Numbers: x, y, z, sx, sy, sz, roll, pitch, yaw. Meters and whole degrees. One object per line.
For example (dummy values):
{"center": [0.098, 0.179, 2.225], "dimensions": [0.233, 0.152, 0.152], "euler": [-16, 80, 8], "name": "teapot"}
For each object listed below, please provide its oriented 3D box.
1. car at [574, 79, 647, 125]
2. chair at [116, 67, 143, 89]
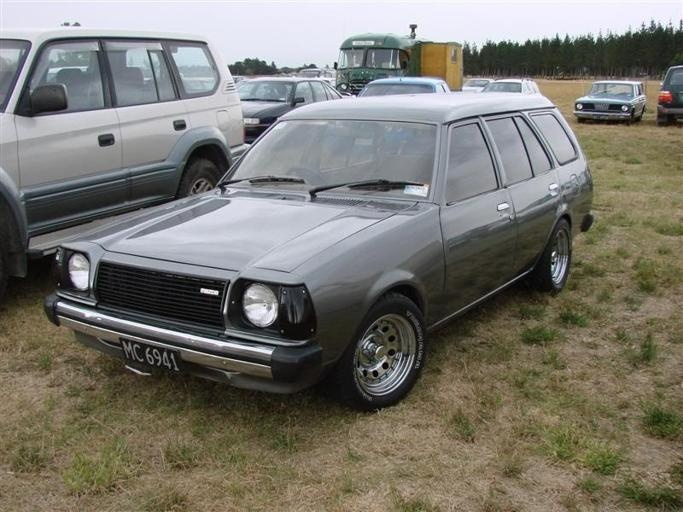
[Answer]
{"center": [12.005, -6.663, 22.746], "dimensions": [1.907, 1.352, 3.331], "euler": [13, 25, 37], "name": "car"}
{"center": [-2.564, -2.181, 6.298], "dimensions": [0.221, 0.208, 0.298], "euler": [7, 26, 8], "name": "chair"}
